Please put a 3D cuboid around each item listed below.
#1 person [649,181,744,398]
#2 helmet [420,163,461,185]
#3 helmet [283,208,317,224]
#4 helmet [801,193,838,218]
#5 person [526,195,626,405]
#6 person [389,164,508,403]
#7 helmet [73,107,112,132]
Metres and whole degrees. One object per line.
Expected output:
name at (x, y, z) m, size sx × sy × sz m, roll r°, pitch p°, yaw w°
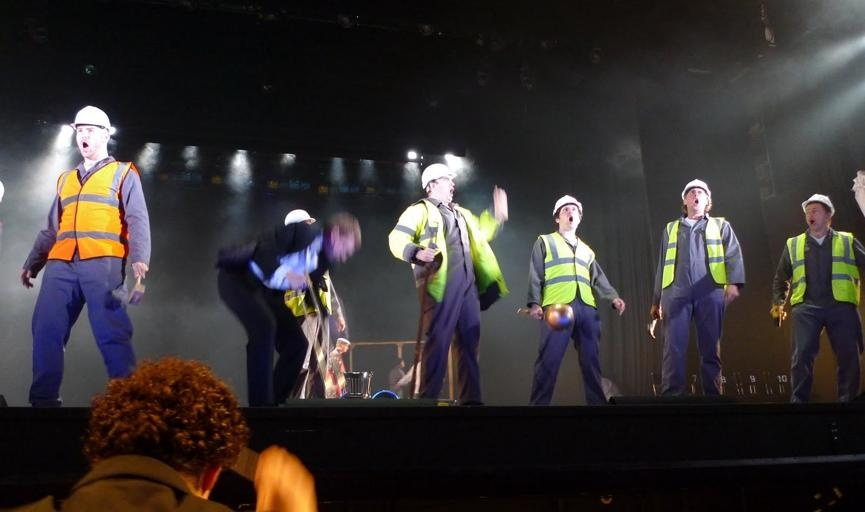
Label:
person at (3.041, 0.542, 8.234) m, size 0.979 × 2.060 × 0.418 m, roll -1°, pitch -7°, yaw 17°
helmet at (0.079, -0.922, 8.270) m, size 0.366 × 0.187 × 0.266 m, roll -17°, pitch 4°, yaw 8°
helmet at (-1.651, -0.480, 8.991) m, size 0.420 × 0.219 × 0.308 m, roll -8°, pitch -4°, yaw 12°
helmet at (4.731, -0.649, 8.871) m, size 0.277 × 0.194 × 0.400 m, roll 17°, pitch 0°, yaw -4°
person at (1.647, 0.443, 8.321) m, size 1.069 × 2.499 × 0.852 m, roll 8°, pitch -10°, yaw -44°
person at (0.186, 0.375, 7.816) m, size 1.263 × 2.374 × 0.632 m, roll 2°, pitch -7°, yaw -3°
helmet at (-3.684, -1.509, 7.803) m, size 0.277 × 0.189 × 0.368 m, roll 4°, pitch -9°, yaw 2°
